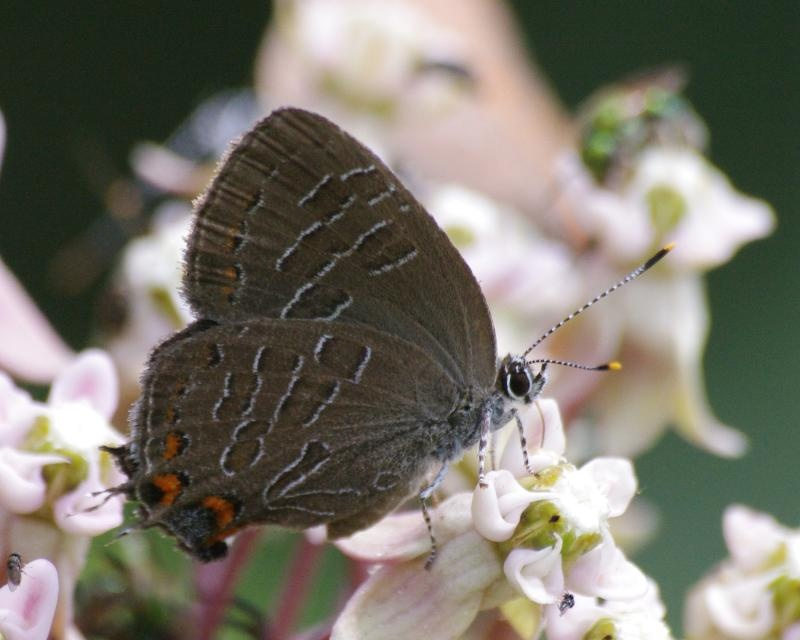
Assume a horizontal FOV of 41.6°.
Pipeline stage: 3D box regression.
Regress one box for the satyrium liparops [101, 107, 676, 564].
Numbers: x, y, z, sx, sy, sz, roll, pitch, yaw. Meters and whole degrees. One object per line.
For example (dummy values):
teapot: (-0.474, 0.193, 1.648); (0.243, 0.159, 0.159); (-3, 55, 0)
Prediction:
satyrium liparops: (-0.012, 0.014, 0.838); (0.351, 0.231, 0.350); (-7, -3, -1)
